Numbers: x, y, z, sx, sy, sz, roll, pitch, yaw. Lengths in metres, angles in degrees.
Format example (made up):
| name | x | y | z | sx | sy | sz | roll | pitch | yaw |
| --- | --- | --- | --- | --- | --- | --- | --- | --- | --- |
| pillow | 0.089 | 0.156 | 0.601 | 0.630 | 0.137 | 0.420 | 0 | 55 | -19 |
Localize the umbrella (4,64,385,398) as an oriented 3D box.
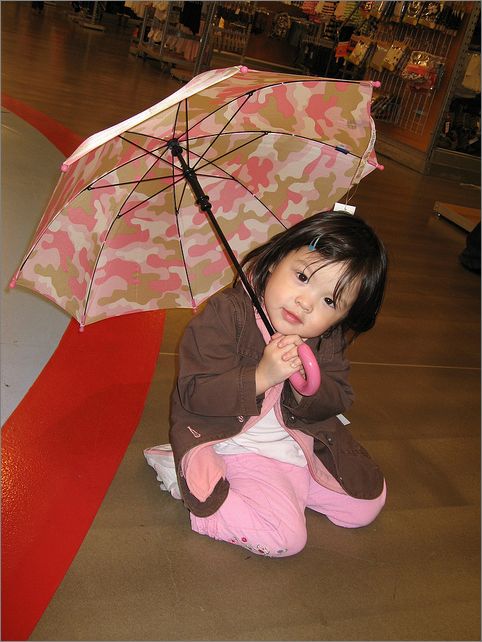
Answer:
| name | x | y | z | sx | sy | sz | roll | pitch | yaw |
| --- | --- | --- | --- | --- | --- | --- | --- | --- | --- |
| umbrella | -0.074 | -0.241 | 1.163 | 0.418 | 0.687 | 0.681 | 46 | -7 | 28 |
